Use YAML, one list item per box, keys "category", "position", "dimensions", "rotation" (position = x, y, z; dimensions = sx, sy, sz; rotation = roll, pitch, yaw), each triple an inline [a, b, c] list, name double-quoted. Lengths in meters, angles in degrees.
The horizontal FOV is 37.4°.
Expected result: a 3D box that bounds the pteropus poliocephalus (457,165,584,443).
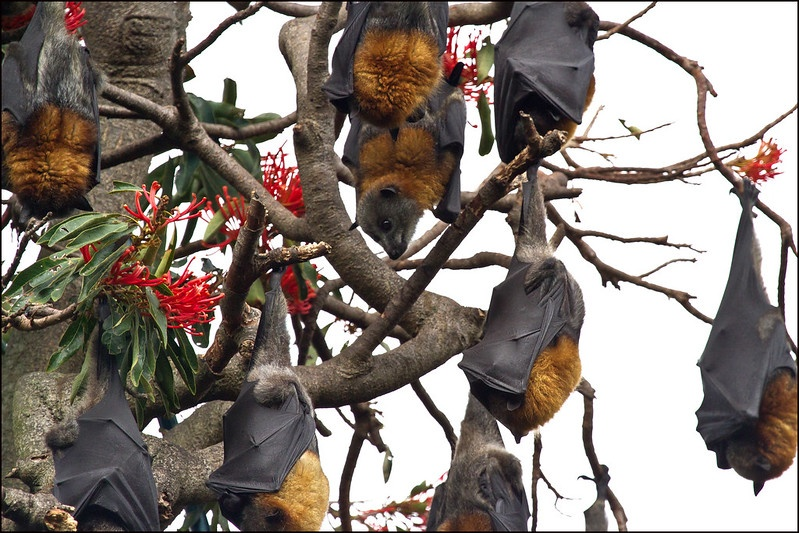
- category: "pteropus poliocephalus"
  position: [0.860, 0.360, 7.521]
  dimensions: [0.691, 1.169, 0.928]
  rotation: [25, -55, -8]
